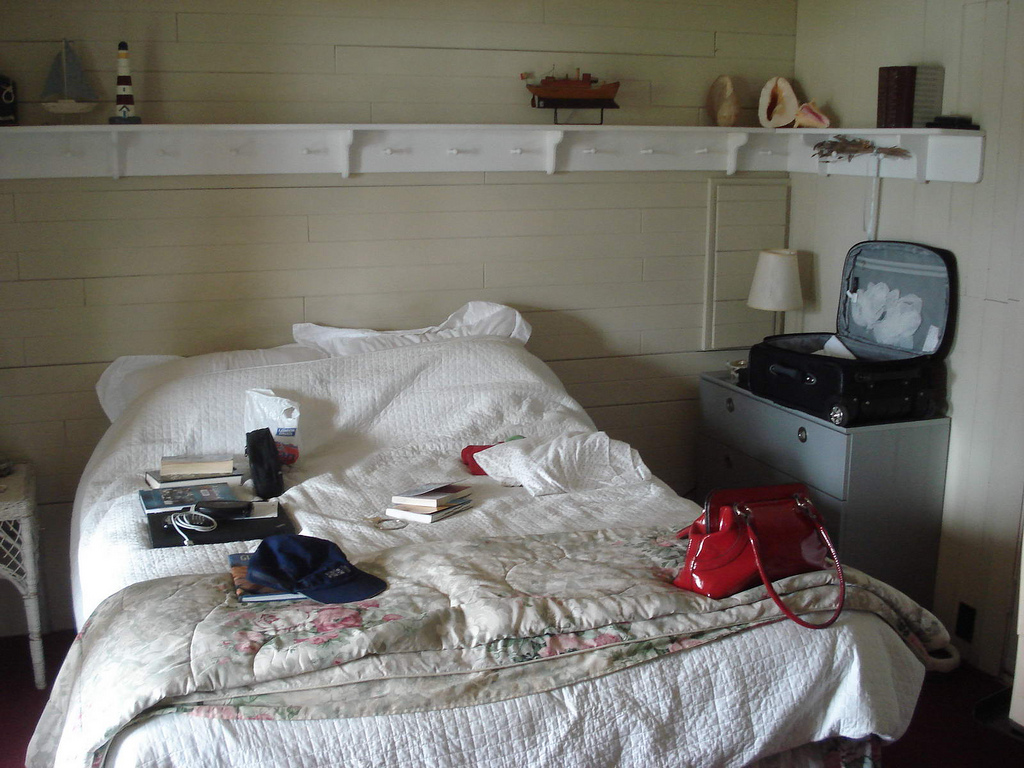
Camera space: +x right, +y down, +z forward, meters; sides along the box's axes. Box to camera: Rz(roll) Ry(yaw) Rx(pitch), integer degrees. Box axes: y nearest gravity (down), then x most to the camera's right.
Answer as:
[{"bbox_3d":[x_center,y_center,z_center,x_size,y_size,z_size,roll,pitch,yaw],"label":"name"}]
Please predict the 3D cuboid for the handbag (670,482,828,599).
[{"bbox_3d":[0.628,0.385,2.039,0.524,0.229,0.202,-1,10,-35],"label":"handbag"}]

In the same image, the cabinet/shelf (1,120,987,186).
[{"bbox_3d":[-0.168,-0.931,3.161,3.515,0.289,0.913,-1,11,-5],"label":"cabinet/shelf"}]

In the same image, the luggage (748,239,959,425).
[{"bbox_3d":[1.323,-0.218,3.142,0.555,0.577,0.690,-12,19,-9],"label":"luggage"}]
